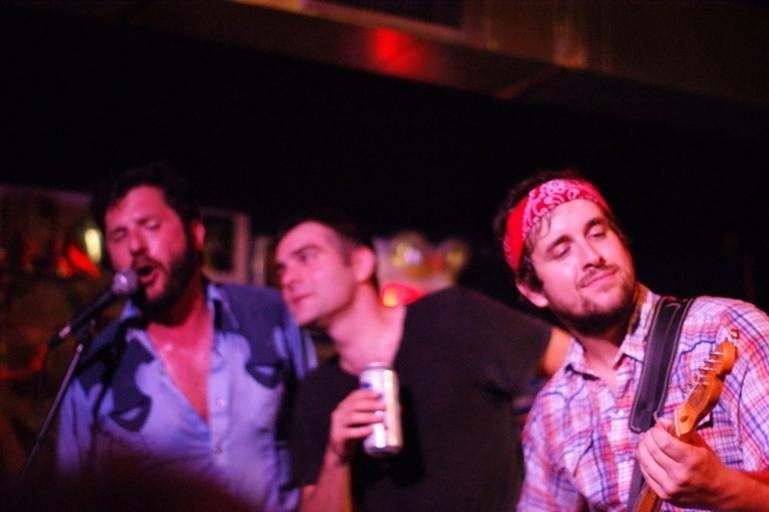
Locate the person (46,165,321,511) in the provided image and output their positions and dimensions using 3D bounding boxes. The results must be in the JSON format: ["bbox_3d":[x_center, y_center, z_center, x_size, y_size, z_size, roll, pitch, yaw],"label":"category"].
[{"bbox_3d":[-0.792,0.327,2.489,0.783,1.204,0.472,-24,-13,9],"label":"person"}]

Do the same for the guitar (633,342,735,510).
[{"bbox_3d":[0.902,0.530,2.055,0.149,0.577,0.324,5,-2,-14],"label":"guitar"}]
